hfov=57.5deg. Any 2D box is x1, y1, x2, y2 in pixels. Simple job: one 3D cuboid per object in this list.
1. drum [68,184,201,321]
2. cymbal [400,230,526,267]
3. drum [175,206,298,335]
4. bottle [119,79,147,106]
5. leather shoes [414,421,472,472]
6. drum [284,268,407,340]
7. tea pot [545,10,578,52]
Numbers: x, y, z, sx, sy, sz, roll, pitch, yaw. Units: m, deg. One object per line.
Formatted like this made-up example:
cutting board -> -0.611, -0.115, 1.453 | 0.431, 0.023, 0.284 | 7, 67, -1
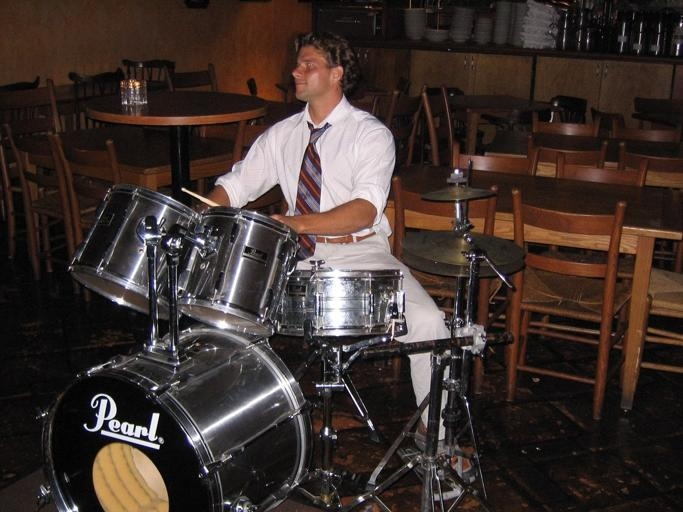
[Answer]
drum -> -0.789, 0.033, 2.431 | 0.574, 0.372, 0.534 | -6, -5, -1
cymbal -> 0.447, -0.032, 2.324 | 0.255, 0.042, 0.235 | 13, 16, 17
drum -> -0.464, 0.035, 2.250 | 0.439, 0.330, 0.380 | 9, -11, -6
bottle -> -1.300, -1.027, 3.919 | 0.160, 0.173, 0.320 | -5, 14, -16
leather shoes -> 0.440, 0.822, 2.623 | 0.143, 0.128, 0.369 | -3, 3, -14
drum -> 0.006, 0.177, 2.338 | 0.372, 0.146, 0.324 | 0, -2, -14
tea pot -> 2.558, -2.587, 7.108 | 0.281, 0.460, 0.268 | 0, 16, 0
